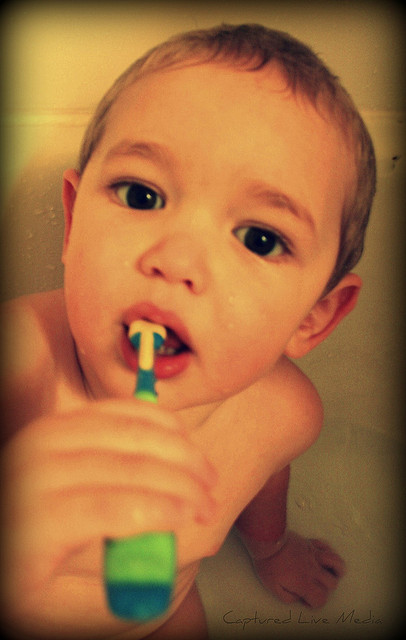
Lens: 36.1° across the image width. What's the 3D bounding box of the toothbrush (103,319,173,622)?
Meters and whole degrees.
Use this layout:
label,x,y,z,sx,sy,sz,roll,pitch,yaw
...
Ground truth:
label,x,y,z,sx,sy,sz,roll,pitch,yaw
toothbrush,-0.099,0.240,0.941,0.104,0.084,0.484,-1,87,-15
